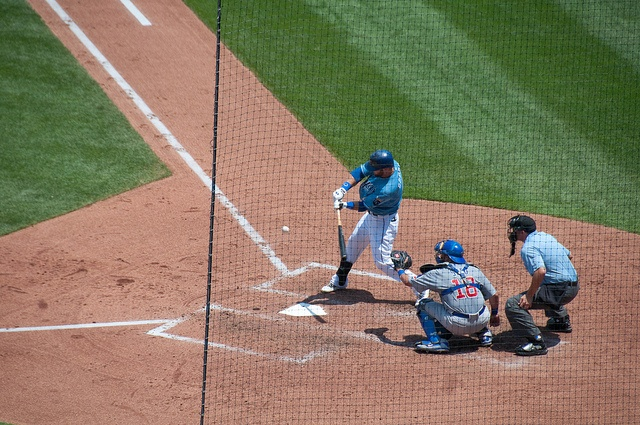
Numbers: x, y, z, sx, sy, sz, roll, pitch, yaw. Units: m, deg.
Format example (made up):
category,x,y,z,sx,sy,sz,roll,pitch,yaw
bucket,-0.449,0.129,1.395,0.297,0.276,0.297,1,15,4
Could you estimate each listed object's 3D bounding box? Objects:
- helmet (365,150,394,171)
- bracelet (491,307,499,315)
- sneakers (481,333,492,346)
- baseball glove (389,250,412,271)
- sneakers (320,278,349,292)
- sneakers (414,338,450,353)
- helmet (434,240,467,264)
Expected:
category,x,y,z,sx,sy,sz,roll,pitch,yaw
helmet,1.172,-1.041,21.249,0.386,0.332,0.421,-8,38,-10
bracelet,3.346,1.878,20.727,0.161,0.123,0.134,-3,9,2
sneakers,3.154,2.401,20.589,0.225,0.226,0.295,3,-8,-44
baseball glove,1.577,0.929,21.009,0.419,0.388,0.271,2,61,10
sneakers,0.236,1.465,21.894,0.684,0.231,0.175,-6,51,-9
sneakers,2.134,2.506,20.573,0.730,0.219,0.237,3,3,5
helmet,2.546,0.733,20.664,0.602,0.335,0.424,9,2,26
